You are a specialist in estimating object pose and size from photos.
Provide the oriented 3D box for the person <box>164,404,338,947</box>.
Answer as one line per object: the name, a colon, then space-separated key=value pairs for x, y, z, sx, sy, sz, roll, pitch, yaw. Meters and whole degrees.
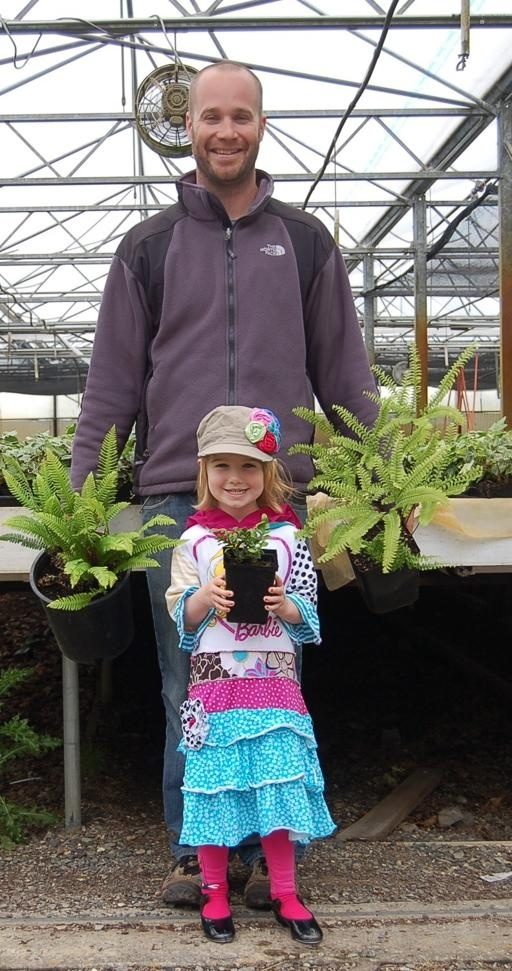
person: x=-0.021 y=0.420 z=1.830 sx=0.389 sy=1.243 sz=0.344 roll=0 pitch=-9 yaw=-8

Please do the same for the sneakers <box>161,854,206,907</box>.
sneakers: x=-0.201 y=1.028 z=1.984 sx=0.069 sy=0.093 sz=0.196 roll=2 pitch=1 yaw=-7

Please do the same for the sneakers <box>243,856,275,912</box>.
sneakers: x=0.014 y=0.998 z=1.948 sx=0.044 sy=0.145 sz=0.095 roll=12 pitch=-20 yaw=-7

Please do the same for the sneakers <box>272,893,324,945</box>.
sneakers: x=0.091 y=1.000 z=1.775 sx=0.052 sy=0.066 sz=0.147 roll=0 pitch=-5 yaw=-18
